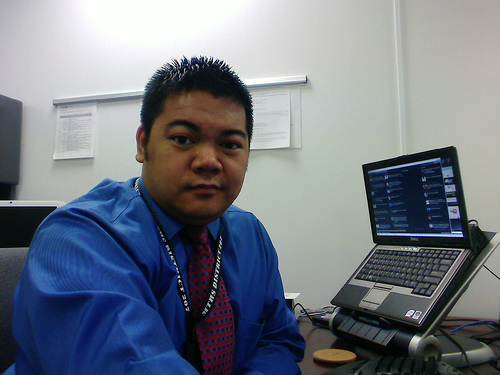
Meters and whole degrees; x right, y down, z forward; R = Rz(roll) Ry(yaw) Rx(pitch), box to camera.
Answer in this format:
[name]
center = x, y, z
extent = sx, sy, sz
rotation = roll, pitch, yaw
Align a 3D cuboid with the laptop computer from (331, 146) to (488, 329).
[laptop computer]
center = 0.489, 0.164, 1.229
extent = 0.409, 0.569, 0.383
rotation = 3, 4, 44
